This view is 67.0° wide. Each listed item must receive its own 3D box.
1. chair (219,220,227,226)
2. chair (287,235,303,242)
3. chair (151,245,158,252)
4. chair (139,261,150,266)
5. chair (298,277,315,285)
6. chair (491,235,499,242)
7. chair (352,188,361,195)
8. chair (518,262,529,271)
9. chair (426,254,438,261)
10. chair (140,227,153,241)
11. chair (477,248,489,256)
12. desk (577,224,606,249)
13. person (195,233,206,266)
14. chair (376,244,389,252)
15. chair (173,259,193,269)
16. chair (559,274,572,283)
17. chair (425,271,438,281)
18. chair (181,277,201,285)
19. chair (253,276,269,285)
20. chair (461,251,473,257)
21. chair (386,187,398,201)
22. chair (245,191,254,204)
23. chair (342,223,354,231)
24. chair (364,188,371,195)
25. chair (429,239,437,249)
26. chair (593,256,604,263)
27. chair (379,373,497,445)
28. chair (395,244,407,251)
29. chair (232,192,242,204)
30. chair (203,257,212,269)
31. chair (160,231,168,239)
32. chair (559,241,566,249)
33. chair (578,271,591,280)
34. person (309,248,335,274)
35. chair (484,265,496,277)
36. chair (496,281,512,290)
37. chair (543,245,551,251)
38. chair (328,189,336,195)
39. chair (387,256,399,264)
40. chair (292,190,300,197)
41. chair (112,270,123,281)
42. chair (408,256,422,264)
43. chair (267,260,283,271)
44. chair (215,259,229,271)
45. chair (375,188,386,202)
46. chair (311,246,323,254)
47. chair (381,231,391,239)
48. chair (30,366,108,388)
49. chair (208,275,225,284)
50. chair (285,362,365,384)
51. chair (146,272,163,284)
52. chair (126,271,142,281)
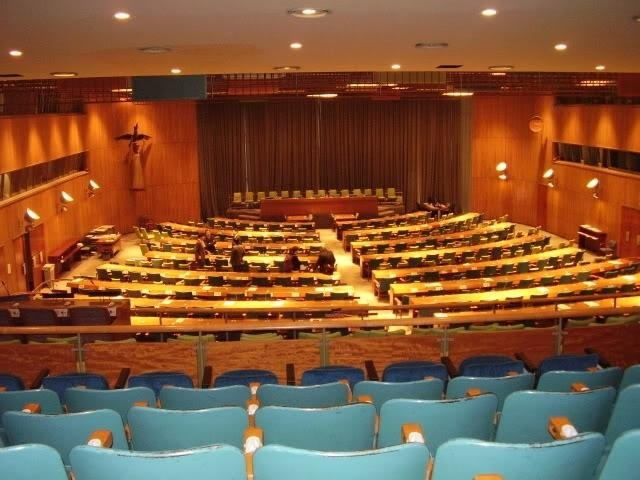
[{"bbox_3d":[-4.348,-0.760,21.666,0.373,0.210,0.342,0,4,-25],"label":"chair"},{"bbox_3d":[-0.971,-0.067,18.029,0.387,0.349,0.372,-1,-2,-20],"label":"chair"},{"bbox_3d":[-6.003,0.300,17.670,0.285,0.203,0.253,-1,2,36],"label":"chair"},{"bbox_3d":[-5.317,0.716,14.669,0.133,0.127,0.124,5,-25,7],"label":"chair"},{"bbox_3d":[-0.340,1.053,12.205,0.302,0.146,0.243,2,15,7],"label":"chair"},{"bbox_3d":[6.298,-0.057,17.437,0.261,0.144,0.229,1,10,16],"label":"chair"},{"bbox_3d":[1.952,-2.492,25.223,0.522,0.380,0.333,0,18,-1],"label":"chair"},{"bbox_3d":[5.622,0.727,13.450,0.296,0.211,0.275,3,13,30],"label":"chair"},{"bbox_3d":[3.242,0.508,14.082,0.197,0.241,0.195,1,8,6],"label":"chair"},{"bbox_3d":[-7.116,-0.237,19.819,0.452,0.596,0.475,18,36,16],"label":"chair"},{"bbox_3d":[5.027,0.370,14.856,0.276,0.284,0.239,-1,12,-1],"label":"chair"},{"bbox_3d":[10.578,-0.127,18.802,0.441,0.747,1.044,-1,8,-8],"label":"desk"},{"bbox_3d":[-3.651,0.402,14.832,0.354,0.709,0.778,-1,0,-13],"label":"person"},{"bbox_3d":[2.006,0.286,15.677,0.288,0.290,0.266,3,33,0],"label":"chair"},{"bbox_3d":[-4.077,0.740,14.459,0.411,0.351,0.340,0,5,15],"label":"chair"},{"bbox_3d":[5.865,0.945,11.552,0.224,0.186,0.249,1,1,-27],"label":"chair"},{"bbox_3d":[2.861,0.950,12.466,0.292,0.288,0.282,5,14,6],"label":"chair"},{"bbox_3d":[-3.224,1.052,12.220,0.317,0.088,0.199,0,17,-6],"label":"chair"},{"bbox_3d":[-1.433,1.013,12.144,0.324,0.329,0.258,2,21,3],"label":"chair"},{"bbox_3d":[4.427,0.432,14.593,0.240,0.105,0.369,0,-3,-2],"label":"chair"},{"bbox_3d":[3.735,-2.400,25.450,0.778,0.710,0.789,-1,7,-1],"label":"chair"},{"bbox_3d":[-3.608,-2.154,24.687,0.452,0.440,0.621,-1,-1,-10],"label":"chair"},{"bbox_3d":[1.175,-0.556,20.659,0.391,0.402,0.326,1,10,3],"label":"chair"},{"bbox_3d":[2.497,-2.533,25.381,0.418,0.211,0.342,0,16,1],"label":"chair"},{"bbox_3d":[3.676,0.135,15.977,0.361,0.280,0.240,3,6,-35],"label":"chair"},{"bbox_3d":[8.514,0.593,14.820,0.195,0.154,0.183,-6,17,-11],"label":"chair"},{"bbox_3d":[0.652,0.998,3.007,0.513,0.527,0.421,-2,17,-6],"label":"chair"},{"bbox_3d":[2.596,0.268,15.596,0.381,0.203,0.304,-2,-1,0],"label":"chair"},{"bbox_3d":[-4.256,-2.126,24.868,0.483,0.487,0.822,-1,-1,-9],"label":"chair"},{"bbox_3d":[-3.492,0.713,14.673,0.291,0.238,0.300,5,-38,-8],"label":"chair"},{"bbox_3d":[-6.070,-0.181,18.768,0.297,0.257,0.241,4,10,23],"label":"chair"},{"bbox_3d":[8.531,0.192,17.051,0.204,0.187,0.304,5,-21,-19],"label":"chair"},{"bbox_3d":[6.584,0.885,12.124,0.297,0.192,0.229,-4,20,3],"label":"chair"},{"bbox_3d":[0.068,0.590,14.155,0.712,0.743,0.782,-8,23,-23],"label":"person"},{"bbox_3d":[4.453,0.835,12.745,0.296,0.309,0.304,2,6,-3],"label":"chair"},{"bbox_3d":[4.348,1.068,11.456,0.275,0.297,0.230,1,23,-1],"label":"chair"},{"bbox_3d":[7.604,0.280,16.205,0.267,0.227,0.201,-6,10,13],"label":"chair"},{"bbox_3d":[0.625,-2.394,24.659,0.348,0.286,0.500,-1,-1,-6],"label":"chair"},{"bbox_3d":[2.162,0.606,14.164,0.325,0.180,0.291,-4,-8,20],"label":"chair"},{"bbox_3d":[-1.179,-2.306,24.510,0.601,0.432,0.359,0,1,-3],"label":"chair"},{"bbox_3d":[-5.355,0.947,12.977,0.306,0.310,0.260,4,15,5],"label":"chair"},{"bbox_3d":[2.698,0.605,13.806,0.266,0.261,0.246,2,18,4],"label":"chair"},{"bbox_3d":[-1.277,0.781,14.249,0.357,0.246,0.275,0,-3,-2],"label":"chair"},{"bbox_3d":[-2.907,0.754,14.329,0.423,0.364,0.343,-2,13,-1],"label":"chair"},{"bbox_3d":[3.109,-2.356,25.293,0.714,0.792,0.753,0,9,-1],"label":"chair"},{"bbox_3d":[-0.129,0.343,15.923,0.337,0.345,0.268,1,27,2],"label":"chair"},{"bbox_3d":[2.512,-0.158,18.204,0.314,0.310,0.311,-1,-10,20],"label":"chair"},{"bbox_3d":[-2.284,1.234,4.352,0.508,0.185,0.614,3,-6,-22],"label":"chair"},{"bbox_3d":[-2.578,0.993,11.984,0.269,0.144,0.242,3,7,21],"label":"chair"},{"bbox_3d":[0.082,1.136,4.101,0.430,0.105,0.274,-1,0,-4],"label":"chair"},{"bbox_3d":[-4.262,0.989,12.564,0.296,0.305,0.278,4,40,-5],"label":"chair"},{"bbox_3d":[-4.848,0.953,12.786,0.308,0.313,0.265,3,10,6],"label":"chair"}]
